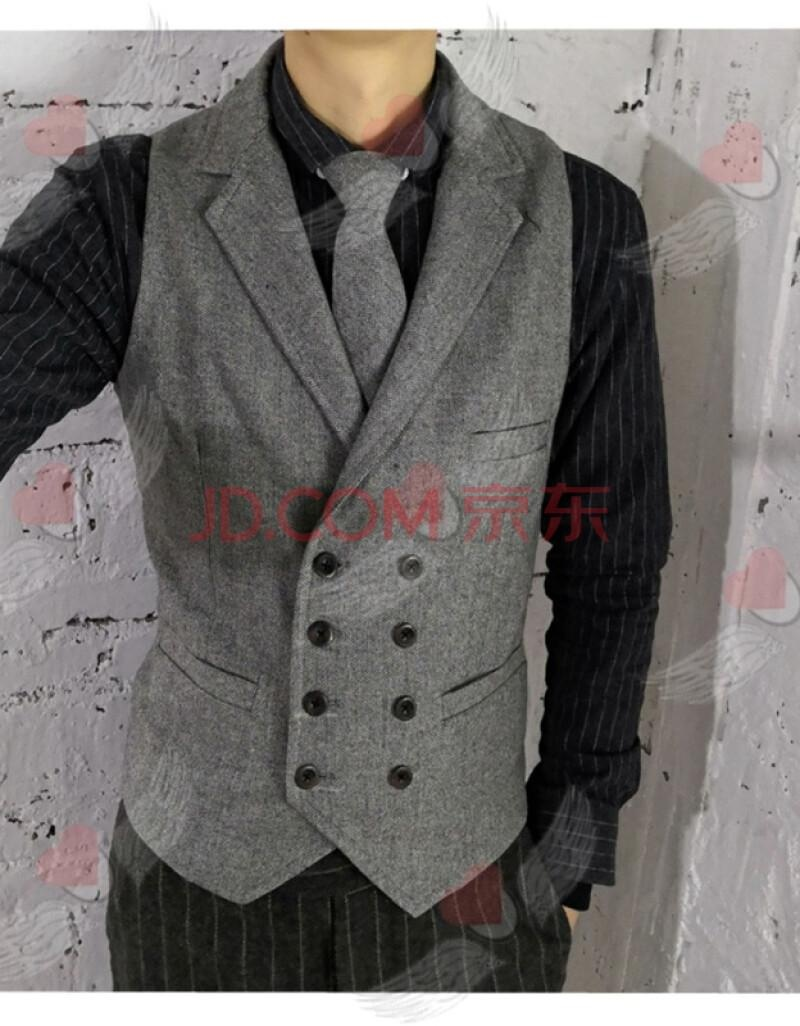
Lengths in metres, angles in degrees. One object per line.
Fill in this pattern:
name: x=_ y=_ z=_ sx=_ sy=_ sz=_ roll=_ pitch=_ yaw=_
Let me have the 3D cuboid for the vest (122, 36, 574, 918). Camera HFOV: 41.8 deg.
vest: x=-0.036 y=-0.023 z=0.722 sx=0.294 sy=0.509 sz=0.365 roll=1 pitch=32 yaw=8
